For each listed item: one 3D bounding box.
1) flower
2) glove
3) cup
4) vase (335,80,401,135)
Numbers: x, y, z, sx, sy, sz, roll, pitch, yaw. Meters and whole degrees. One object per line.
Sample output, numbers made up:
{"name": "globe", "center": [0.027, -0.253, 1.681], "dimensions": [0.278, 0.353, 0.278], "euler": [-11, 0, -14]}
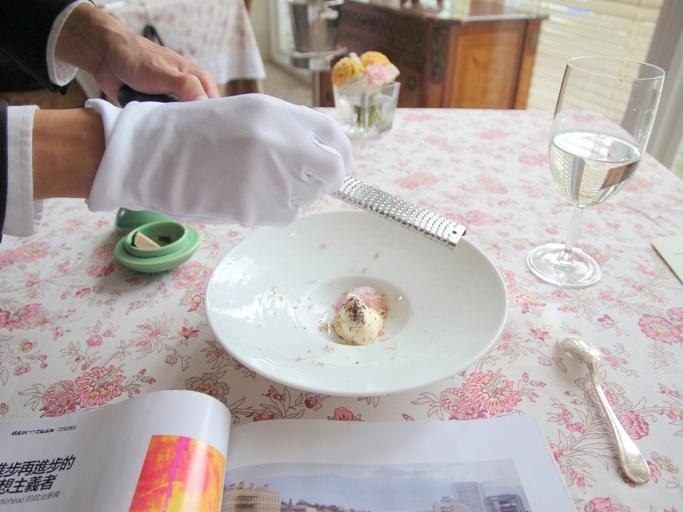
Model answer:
{"name": "flower", "center": [0.054, -0.355, 1.106], "dimensions": [0.151, 0.159, 0.113], "euler": [-27, 41, -37]}
{"name": "glove", "center": [-0.151, -0.100, 0.678], "dimensions": [0.291, 0.118, 0.165], "euler": [12, 74, -10]}
{"name": "cup", "center": [0.044, -0.331, 1.134], "dimensions": [0.136, 0.105, 0.115], "euler": [22, 37, 37]}
{"name": "vase", "center": [0.054, -0.323, 1.113], "dimensions": [0.134, 0.100, 0.118], "euler": [8, 24, 24]}
